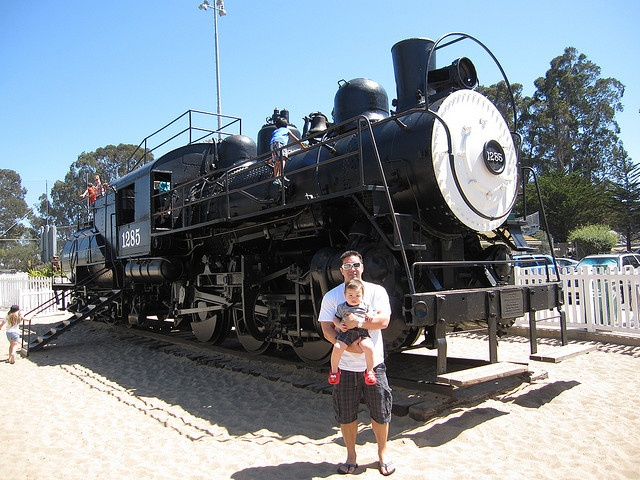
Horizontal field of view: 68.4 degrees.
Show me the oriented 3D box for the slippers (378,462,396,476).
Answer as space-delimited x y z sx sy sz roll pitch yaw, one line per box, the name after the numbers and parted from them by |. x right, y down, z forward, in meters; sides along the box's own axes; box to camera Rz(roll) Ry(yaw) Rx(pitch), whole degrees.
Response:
0.765 2.571 5.301 0.194 0.150 0.135 -3 3 -2 | slippers

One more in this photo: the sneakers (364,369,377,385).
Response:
0.561 1.522 5.193 0.141 0.167 0.132 -3 3 2 | sneakers

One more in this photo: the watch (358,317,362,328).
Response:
0.443 0.911 5.138 0.065 0.088 0.014 -5 3 -24 | watch

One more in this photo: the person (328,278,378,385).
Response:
0.343 1.039 5.227 0.520 1.184 0.273 -3 3 3 | person

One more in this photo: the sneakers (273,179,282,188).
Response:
-0.742 -0.976 8.074 0.095 0.123 0.304 -4 -10 -15 | sneakers
